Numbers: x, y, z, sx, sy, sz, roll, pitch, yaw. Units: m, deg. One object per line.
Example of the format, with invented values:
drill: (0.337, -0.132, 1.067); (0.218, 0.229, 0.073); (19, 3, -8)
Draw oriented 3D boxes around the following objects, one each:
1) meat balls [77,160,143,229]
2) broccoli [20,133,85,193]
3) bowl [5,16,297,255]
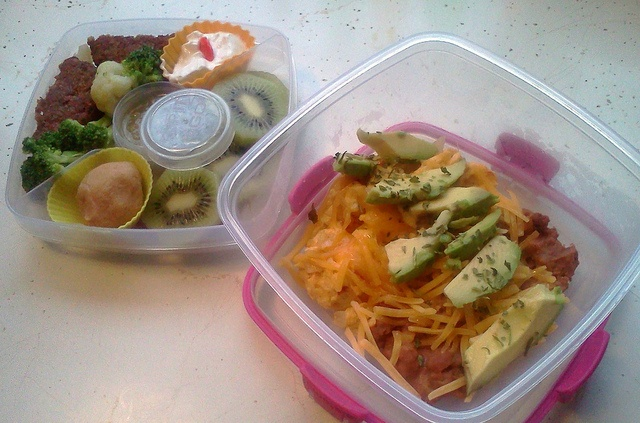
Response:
meat balls: (-0.917, -0.059, 2.587); (0.274, 0.159, 0.284); (1, 79, -3)
broccoli: (-1.193, -0.200, 2.673); (0.240, 0.170, 0.230); (-12, 59, 2)
bowl: (-0.998, -0.274, 2.968); (1.146, 0.291, 1.242); (0, 71, -1)
